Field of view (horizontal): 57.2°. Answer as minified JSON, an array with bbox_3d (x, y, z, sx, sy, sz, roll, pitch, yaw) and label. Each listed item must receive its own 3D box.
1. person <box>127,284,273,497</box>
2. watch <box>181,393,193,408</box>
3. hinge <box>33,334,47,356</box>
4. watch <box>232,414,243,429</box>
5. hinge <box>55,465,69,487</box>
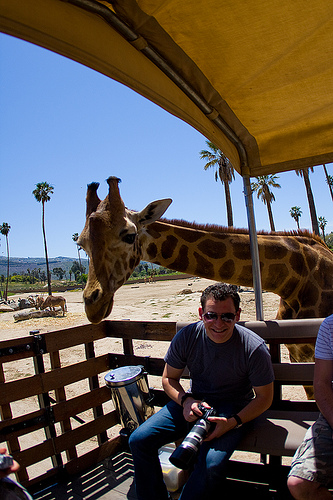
[{"bbox_3d":[0.208,0.900,2.028,0.937,1.123,0.740,-7,-3,18],"label":"person"},{"bbox_3d":[0.131,1.000,2.093,0.086,0.098,0.059,17,-16,-5],"label":"watch"},{"bbox_3d":[-1.134,0.849,2.786,0.037,0.139,0.150,-3,-4,22],"label":"hinge"},{"bbox_3d":[0.436,1.022,1.868,0.070,0.068,0.068,-10,-15,20],"label":"watch"},{"bbox_3d":[-0.914,1.957,2.703,0.080,0.139,0.078,-17,-5,-3],"label":"hinge"}]
